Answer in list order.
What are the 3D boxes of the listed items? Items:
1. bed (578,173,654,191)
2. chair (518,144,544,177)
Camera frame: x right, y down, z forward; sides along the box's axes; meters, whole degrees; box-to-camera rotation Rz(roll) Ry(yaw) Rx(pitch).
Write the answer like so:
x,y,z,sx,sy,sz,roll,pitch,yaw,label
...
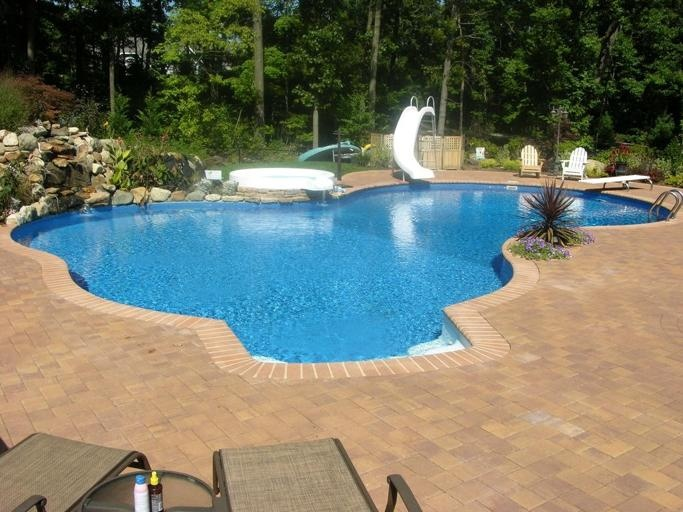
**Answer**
x,y,z,sx,sy,sz,roll,pitch,yaw,label
11.755,-3.096,21.194,2.599,0.319,1.147,-4,19,-2,bed
9.676,-4.798,25.341,0.995,1.567,1.862,6,13,18,chair
